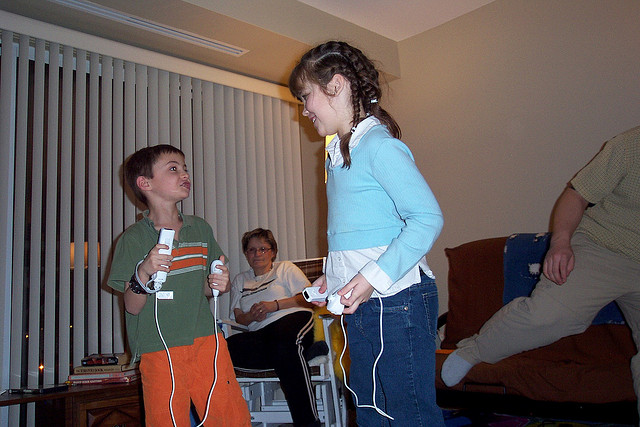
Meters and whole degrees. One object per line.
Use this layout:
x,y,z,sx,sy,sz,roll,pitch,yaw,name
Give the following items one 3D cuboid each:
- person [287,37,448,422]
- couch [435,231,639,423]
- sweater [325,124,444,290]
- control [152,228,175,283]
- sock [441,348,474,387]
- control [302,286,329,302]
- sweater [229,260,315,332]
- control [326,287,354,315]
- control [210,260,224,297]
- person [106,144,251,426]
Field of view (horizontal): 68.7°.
0.210,0.054,2.085,0.587,1.752,0.315,-4,-3,-3,person
1.236,0.565,3.239,1.218,1.344,1.291,1,-4,9,couch
0.278,-0.066,2.265,0.436,0.775,0.828,-4,2,-19,sweater
-0.790,0.209,2.342,0.107,0.273,0.142,-3,-3,-21,control
0.816,0.917,2.815,0.145,0.084,0.260,-1,25,39,sock
-0.028,0.355,2.082,0.091,0.056,0.024,-3,-41,-6,control
-0.365,0.632,3.527,0.447,0.438,0.249,-25,-35,4,sweater
0.076,0.370,1.972,0.050,0.121,0.086,13,-9,39,control
-0.536,0.337,2.414,0.078,0.169,0.041,2,-5,-31,control
-0.761,0.348,2.464,0.659,1.475,0.382,-3,-3,-17,person
